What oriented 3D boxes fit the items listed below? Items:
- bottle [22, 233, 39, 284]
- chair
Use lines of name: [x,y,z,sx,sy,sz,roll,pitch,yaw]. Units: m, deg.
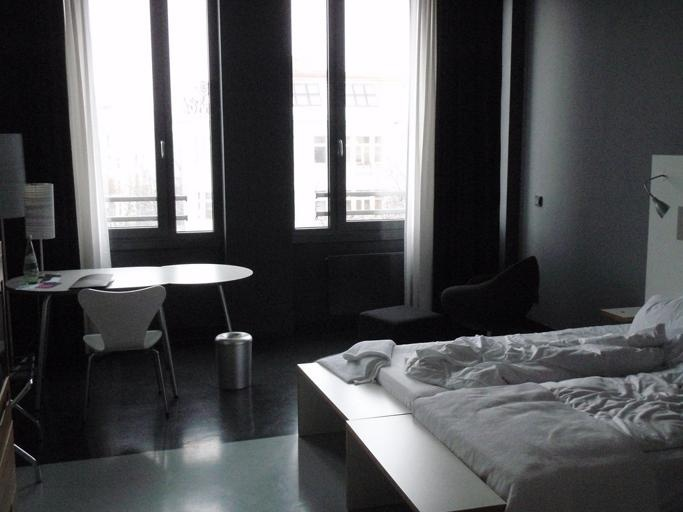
bottle: [-2.260,0.023,3.933,0.092,0.296,0.290,-6,12,-29]
chair: [-1.558,0.721,3.897,0.631,1.079,0.704,-2,23,-18]
